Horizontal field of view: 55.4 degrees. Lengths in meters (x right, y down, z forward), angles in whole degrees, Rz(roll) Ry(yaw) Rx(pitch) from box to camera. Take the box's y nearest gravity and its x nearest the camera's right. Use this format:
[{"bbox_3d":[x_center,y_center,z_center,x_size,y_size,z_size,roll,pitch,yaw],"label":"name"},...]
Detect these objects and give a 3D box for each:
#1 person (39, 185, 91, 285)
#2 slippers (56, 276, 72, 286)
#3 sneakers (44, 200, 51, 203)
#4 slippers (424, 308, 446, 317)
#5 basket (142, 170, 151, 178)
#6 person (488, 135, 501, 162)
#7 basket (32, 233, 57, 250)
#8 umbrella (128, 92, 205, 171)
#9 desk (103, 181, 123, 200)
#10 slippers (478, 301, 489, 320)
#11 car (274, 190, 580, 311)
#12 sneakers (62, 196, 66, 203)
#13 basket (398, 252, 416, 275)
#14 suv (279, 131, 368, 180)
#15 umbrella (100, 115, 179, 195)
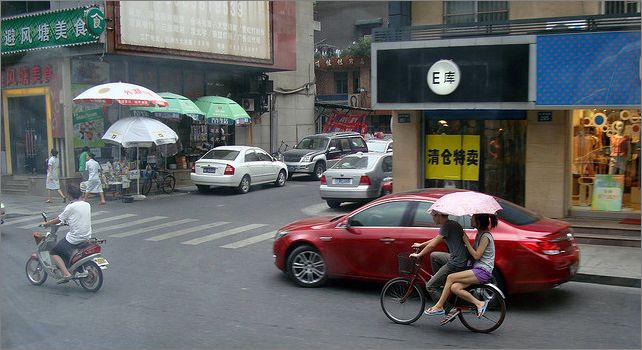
[{"bbox_3d":[-7.607,1.800,18.418,1.163,2.814,0.582,-3,6,-18],"label":"person"},{"bbox_3d":[-7.775,3.187,18.411,0.256,0.196,0.631,4,-10,-44],"label":"slippers"},{"bbox_3d":[-12.972,1.261,28.903,0.375,0.147,0.123,3,1,29],"label":"sneakers"},{"bbox_3d":[3.019,3.713,16.419,0.586,0.187,0.216,3,4,0],"label":"slippers"},{"bbox_3d":[-8.625,-0.009,30.203,0.314,0.179,0.314,3,7,20],"label":"basket"},{"bbox_3d":[6.747,-1.024,23.769,0.721,1.066,0.305,8,6,18],"label":"person"},{"bbox_3d":[-8.544,1.999,18.835,0.395,0.419,0.733,2,6,-19],"label":"basket"},{"bbox_3d":[-8.426,-2.764,33.447,3.725,2.948,3.575,-4,19,-27],"label":"umbrella"},{"bbox_3d":[-10.075,0.772,29.529,1.035,0.914,1.027,2,5,34],"label":"desk"},{"bbox_3d":[4.275,3.590,16.197,0.150,0.503,0.207,13,22,-1],"label":"slippers"},{"bbox_3d":[3.048,2.146,18.563,7.958,2.370,3.446,2,3,18],"label":"car"},{"bbox_3d":[-12.204,1.189,28.968,0.197,0.247,0.088,-4,8,-23],"label":"sneakers"},{"bbox_3d":[2.356,2.420,16.731,0.814,0.589,0.492,0,-5,18],"label":"basket"},{"bbox_3d":[0.334,-1.213,35.498,2.571,1.915,4.724,1,2,42],"label":"suv"},{"bbox_3d":[-8.574,-1.449,29.191,2.352,2.438,2.609,14,19,30],"label":"umbrella"}]
